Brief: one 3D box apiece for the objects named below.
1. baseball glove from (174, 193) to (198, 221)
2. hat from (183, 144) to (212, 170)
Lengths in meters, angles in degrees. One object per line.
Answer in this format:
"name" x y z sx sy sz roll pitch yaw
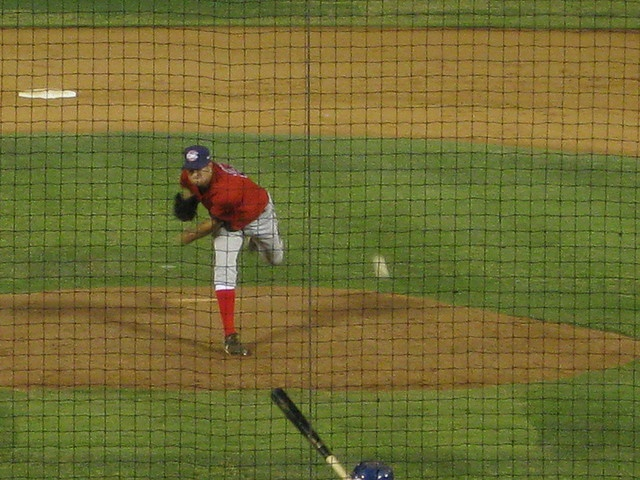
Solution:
"baseball glove" -1.914 -0.435 19.415 0.382 0.190 0.366 -2 -70 12
"hat" -1.721 -1.102 18.765 0.346 0.404 0.180 2 -72 7
